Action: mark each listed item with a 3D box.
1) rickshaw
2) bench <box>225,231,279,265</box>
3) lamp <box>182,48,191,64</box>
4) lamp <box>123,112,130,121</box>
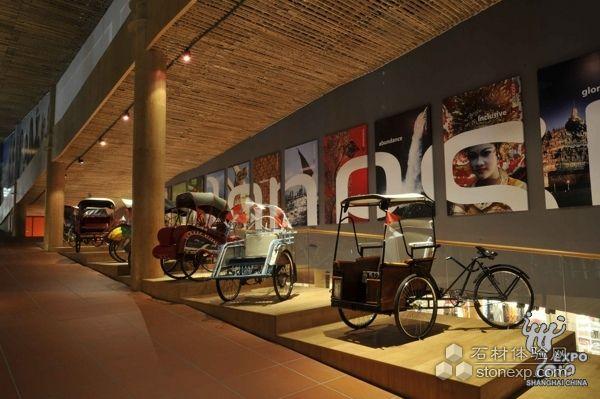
[{"bbox_3d":[-0.785,0.978,8.012,1.334,1.843,2.209,-5,-5,24],"label":"rickshaw"},{"bbox_3d":[-0.980,0.928,7.886,0.517,0.511,0.693,-7,-12,40],"label":"bench"},{"bbox_3d":[-2.799,-3.471,9.785,0.241,0.289,0.582,-3,13,-16],"label":"lamp"},{"bbox_3d":[-5.655,-2.629,12.933,0.191,0.181,0.194,3,-30,-2],"label":"lamp"}]
